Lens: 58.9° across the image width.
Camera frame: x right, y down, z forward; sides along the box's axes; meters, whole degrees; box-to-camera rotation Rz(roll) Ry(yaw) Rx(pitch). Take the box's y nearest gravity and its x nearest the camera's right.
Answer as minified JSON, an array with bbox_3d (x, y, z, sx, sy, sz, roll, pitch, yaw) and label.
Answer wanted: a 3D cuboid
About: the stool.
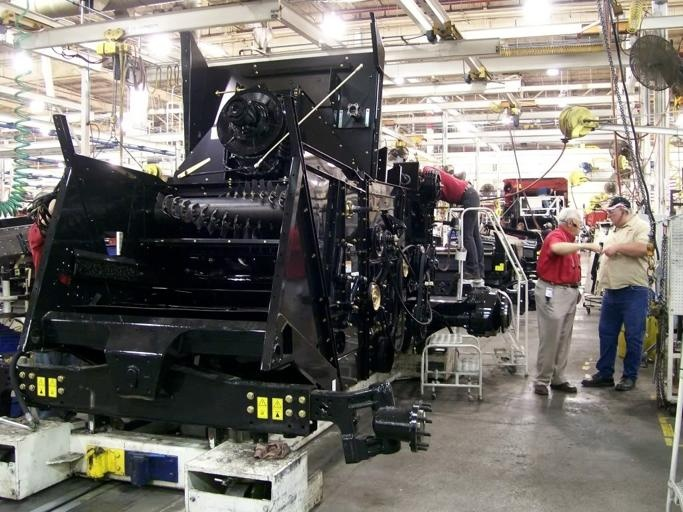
[{"bbox_3d":[1.435,1.390,7.877,0.607,0.601,1.063,-1,-6,9],"label":"stool"}]

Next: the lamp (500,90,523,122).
[{"bbox_3d":[4.611,-4.079,16.449,0.485,0.809,1.479,4,5,14],"label":"lamp"}]

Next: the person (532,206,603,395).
[{"bbox_3d":[2.723,0.570,7.608,0.564,2.360,0.382,0,5,-24],"label":"person"}]

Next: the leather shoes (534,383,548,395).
[{"bbox_3d":[2.504,1.680,7.604,0.134,0.128,0.138,-1,-1,41],"label":"leather shoes"}]

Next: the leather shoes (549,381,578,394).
[{"bbox_3d":[2.859,1.700,7.840,0.362,0.155,0.129,-4,-5,41],"label":"leather shoes"}]

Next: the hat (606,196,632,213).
[{"bbox_3d":[3.490,-0.664,7.620,0.254,0.148,0.162,-1,-2,16],"label":"hat"}]

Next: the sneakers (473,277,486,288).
[{"bbox_3d":[1.825,0.351,7.934,0.165,0.113,0.164,0,2,-6],"label":"sneakers"}]

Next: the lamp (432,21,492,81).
[{"bbox_3d":[2.086,-3.577,10.530,0.424,0.328,3.039,0,3,23],"label":"lamp"}]

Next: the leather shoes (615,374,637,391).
[{"bbox_3d":[3.667,1.656,7.802,0.120,0.152,0.368,-10,-14,42],"label":"leather shoes"}]

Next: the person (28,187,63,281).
[{"bbox_3d":[-2.859,-0.282,5.762,0.228,0.796,1.055,0,6,-27],"label":"person"}]

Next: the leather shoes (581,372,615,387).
[{"bbox_3d":[3.395,1.659,8.095,0.517,0.220,0.173,2,-5,2],"label":"leather shoes"}]
